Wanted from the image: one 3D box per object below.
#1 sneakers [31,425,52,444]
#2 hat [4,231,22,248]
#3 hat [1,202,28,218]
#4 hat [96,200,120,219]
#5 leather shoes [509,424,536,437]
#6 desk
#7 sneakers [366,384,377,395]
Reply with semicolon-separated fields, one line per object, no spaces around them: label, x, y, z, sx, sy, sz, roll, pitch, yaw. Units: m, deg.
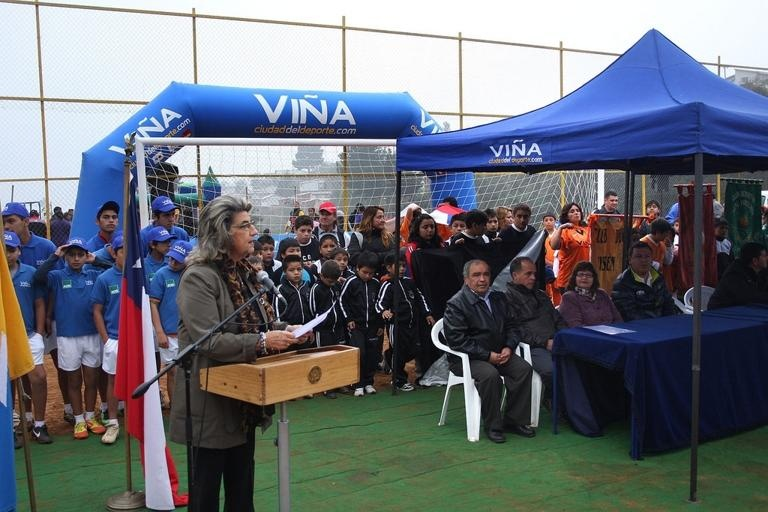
sneakers;-4.044;2.104;8.335;0.344;0.171;0.136;2;0;38
hat;-4.255;-0.174;8.173;0.223;0.191;0.323;3;-9;-22
hat;-4.561;-0.568;8.816;0.191;0.159;0.280;1;4;13
hat;-3.488;-0.631;9.048;0.182;0.173;0.301;-2;-23;-23
leather shoes;1.633;2.057;8.324;0.295;0.132;0.119;-4;-6;32
desk;3.295;1.428;8.246;2.574;1.274;1.074;-5;12;-18
sneakers;-0.169;1.869;9.856;0.116;0.092;0.215;0;-4;-18
